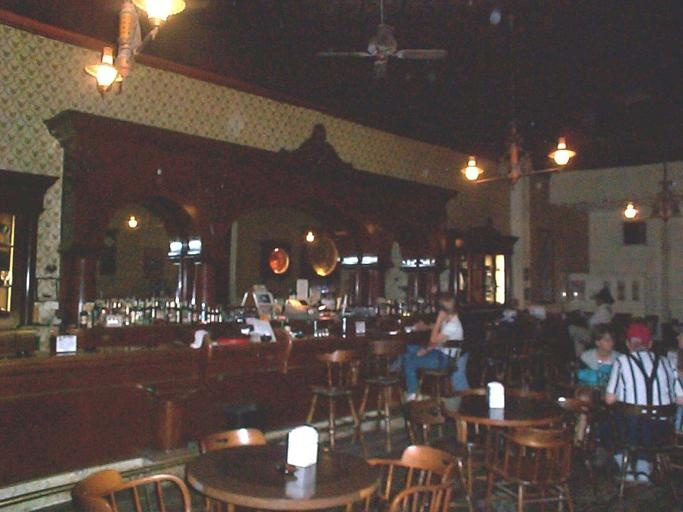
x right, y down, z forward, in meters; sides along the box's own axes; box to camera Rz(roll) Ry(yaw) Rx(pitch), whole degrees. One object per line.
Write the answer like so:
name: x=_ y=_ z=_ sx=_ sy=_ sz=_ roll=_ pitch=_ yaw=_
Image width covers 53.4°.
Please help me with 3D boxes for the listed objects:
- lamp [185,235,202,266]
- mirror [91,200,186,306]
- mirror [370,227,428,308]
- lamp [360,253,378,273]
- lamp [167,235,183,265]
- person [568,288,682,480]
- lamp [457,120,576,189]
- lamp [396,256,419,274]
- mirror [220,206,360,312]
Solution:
lamp: x=-2.166 y=-0.083 z=9.996 sx=0.077 sy=0.373 sz=0.423 roll=3 pitch=-6 yaw=-41
mirror: x=-3.615 y=-0.047 z=11.934 sx=1.686 sy=2.091 sz=0.203 roll=0 pitch=4 yaw=-43
mirror: x=1.093 y=0.207 z=12.771 sx=0.864 sy=2.505 sz=0.240 roll=13 pitch=28 yaw=22
lamp: x=0.502 y=0.090 z=11.933 sx=0.311 sy=0.240 sz=0.144 roll=0 pitch=-4 yaw=-4
lamp: x=-2.475 y=-0.059 z=10.344 sx=0.241 sy=0.371 sz=0.116 roll=4 pitch=4 yaw=31
person: x=3.500 y=1.592 z=8.414 sx=0.837 sy=2.724 sz=1.081 roll=17 pitch=-24 yaw=-29
lamp: x=3.115 y=-1.916 z=12.490 sx=1.149 sy=0.814 sz=0.342 roll=-12 pitch=-20 yaw=36
lamp: x=1.376 y=0.157 z=13.185 sx=0.387 sy=0.238 sz=0.282 roll=6 pitch=10 yaw=26
mirror: x=-1.117 y=0.016 z=13.479 sx=1.875 sy=1.945 sz=0.132 roll=-1 pitch=2 yaw=-37
